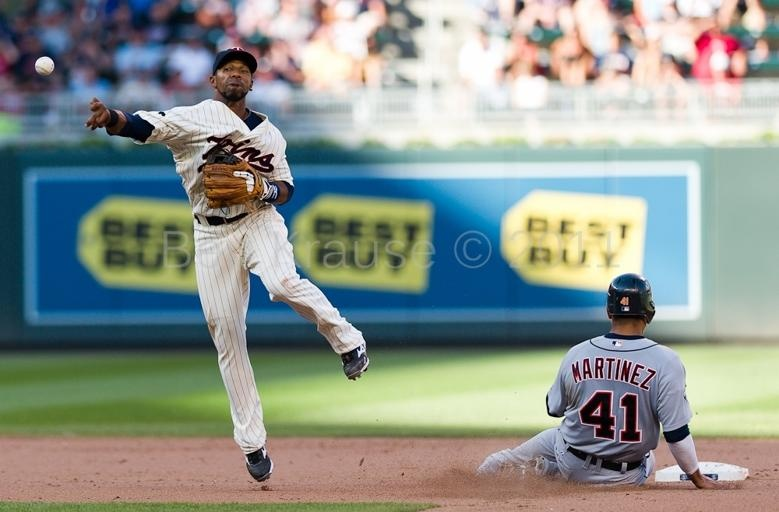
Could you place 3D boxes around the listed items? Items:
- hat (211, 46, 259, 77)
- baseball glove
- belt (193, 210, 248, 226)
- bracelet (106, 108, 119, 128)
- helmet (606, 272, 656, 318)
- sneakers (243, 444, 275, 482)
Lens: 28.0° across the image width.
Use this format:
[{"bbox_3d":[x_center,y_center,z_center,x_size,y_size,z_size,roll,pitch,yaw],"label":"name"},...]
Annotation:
[{"bbox_3d":[-1.214,-1.524,12.114,0.299,0.210,0.468,9,-1,-20],"label":"hat"},{"bbox_3d":[-1.104,-0.511,11.878,0.723,0.259,0.431,1,-5,35],"label":"baseball glove"},{"bbox_3d":[-1.294,-0.271,12.026,0.426,0.098,0.103,-2,5,20],"label":"belt"},{"bbox_3d":[-2.053,-1.015,11.679,0.117,0.116,0.112,13,11,33],"label":"bracelet"},{"bbox_3d":[1.833,0.321,11.971,0.349,0.357,0.471,3,-8,11],"label":"helmet"},{"bbox_3d":[-1.013,1.657,12.180,0.140,0.354,0.165,-32,-25,9],"label":"sneakers"}]
